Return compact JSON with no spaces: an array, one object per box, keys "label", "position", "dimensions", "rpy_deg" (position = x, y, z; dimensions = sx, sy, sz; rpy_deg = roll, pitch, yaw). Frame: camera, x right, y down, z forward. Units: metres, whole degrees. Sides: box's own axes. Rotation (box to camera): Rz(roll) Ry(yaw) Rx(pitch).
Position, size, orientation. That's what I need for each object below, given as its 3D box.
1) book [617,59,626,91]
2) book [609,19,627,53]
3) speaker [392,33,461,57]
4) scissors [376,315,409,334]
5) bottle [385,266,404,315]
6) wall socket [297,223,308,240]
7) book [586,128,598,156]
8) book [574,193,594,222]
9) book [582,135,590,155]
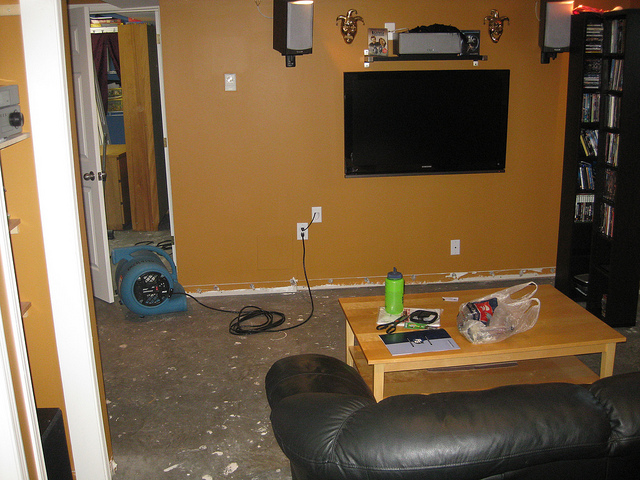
[{"label":"book","position":[2.164,-1.184,3.859],"dimensions":[0.028,0.216,0.144],"rpy_deg":[6,19,24]},{"label":"book","position":[2.176,-1.496,3.936],"dimensions":[0.090,0.235,0.097],"rpy_deg":[5,19,22]},{"label":"speaker","position":[0.895,-1.636,4.497],"dimensions":[0.550,0.195,0.166],"rpy_deg":[-5,18,-8]},{"label":"scissors","position":[0.408,0.462,3.022],"dimensions":[0.063,0.009,0.190],"rpy_deg":[12,20,35]},{"label":"bottle","position":[0.437,0.287,3.146],"dimensions":[0.112,0.291,0.133],"rpy_deg":[0,18,8]},{"label":"wall socket","position":[-0.153,-0.089,4.775],"dimensions":[0.133,0.196,0.021],"rpy_deg":[0,11,-5]},{"label":"book","position":[2.213,-0.788,4.319],"dimensions":[0.040,0.173,0.161],"rpy_deg":[-6,3,-27]},{"label":"book","position":[2.161,-0.266,4.421],"dimensions":[0.164,0.243,0.063],"rpy_deg":[-4,18,-6]},{"label":"book","position":[2.145,-0.786,4.342],"dimensions":[0.027,0.208,0.027],"rpy_deg":[-20,14,19]}]
